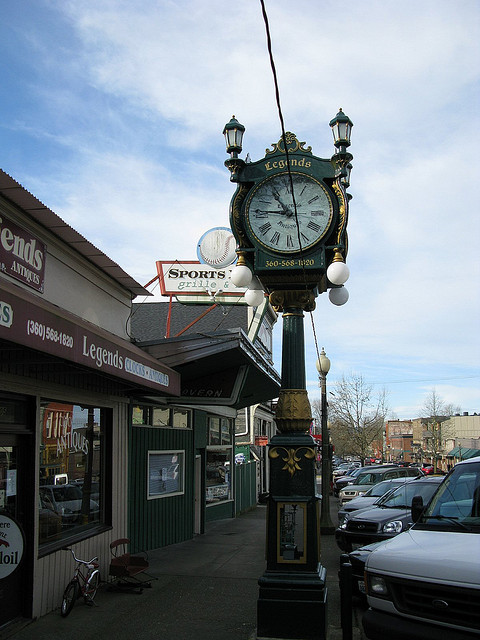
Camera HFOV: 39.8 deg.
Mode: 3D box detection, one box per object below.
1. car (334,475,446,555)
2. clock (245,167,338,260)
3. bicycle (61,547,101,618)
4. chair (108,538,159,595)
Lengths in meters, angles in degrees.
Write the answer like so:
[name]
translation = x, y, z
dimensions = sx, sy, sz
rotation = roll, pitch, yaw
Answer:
[car]
translation = 2.266, 3.101, 10.661
dimensions = 1.334, 1.195, 2.868
rotation = -20, -27, 34
[clock]
translation = 0.646, -1.221, 7.797
dimensions = 1.266, 1.134, 0.122
rotation = 1, -16, 16
[bicycle]
translation = -2.089, 3.508, 8.797
dimensions = 0.471, 0.548, 0.907
rotation = -9, -18, 11
[chair]
translation = -1.567, 3.578, 9.667
dimensions = 0.623, 0.631, 0.713
rotation = 0, -10, 10
